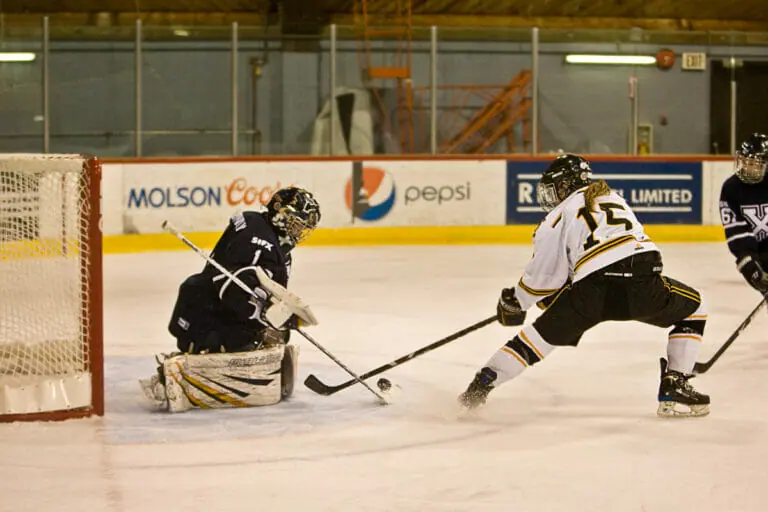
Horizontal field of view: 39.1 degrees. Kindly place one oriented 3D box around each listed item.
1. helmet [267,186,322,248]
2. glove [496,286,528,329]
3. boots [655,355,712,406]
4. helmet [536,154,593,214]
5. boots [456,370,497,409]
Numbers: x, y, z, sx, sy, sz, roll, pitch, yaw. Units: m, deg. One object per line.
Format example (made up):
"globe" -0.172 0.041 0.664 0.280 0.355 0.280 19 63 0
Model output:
"helmet" -0.633 -0.304 7.666 0.356 0.362 0.409 4 10 -37
"glove" 0.866 0.374 7.414 0.195 0.199 0.218 -1 22 -10
"boots" 2.009 0.872 7.360 0.457 0.301 0.143 7 -6 -25
"helmet" 1.254 -0.500 7.460 0.420 0.343 0.343 -7 1 26
"boots" 0.616 0.922 7.307 0.097 0.180 0.186 42 4 -8
